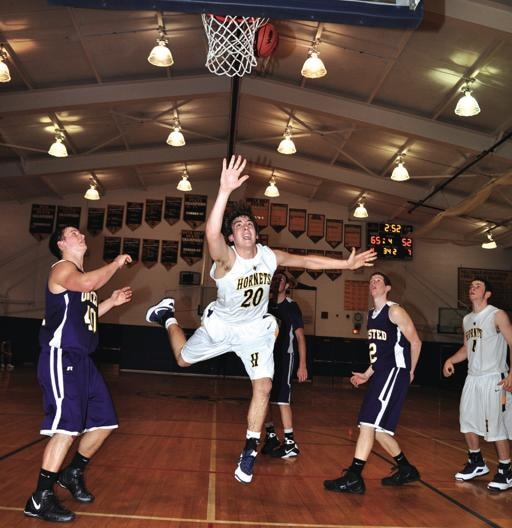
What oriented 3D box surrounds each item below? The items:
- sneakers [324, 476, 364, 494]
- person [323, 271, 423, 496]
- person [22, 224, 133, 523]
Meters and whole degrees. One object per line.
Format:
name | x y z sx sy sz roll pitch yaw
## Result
sneakers | 0.637 1.577 3.324 0.319 0.114 0.107 4 -7 4
person | 0.972 0.916 3.609 0.642 1.712 0.812 3 -3 19
person | -1.045 0.680 2.741 0.483 1.097 0.539 6 -4 -24
